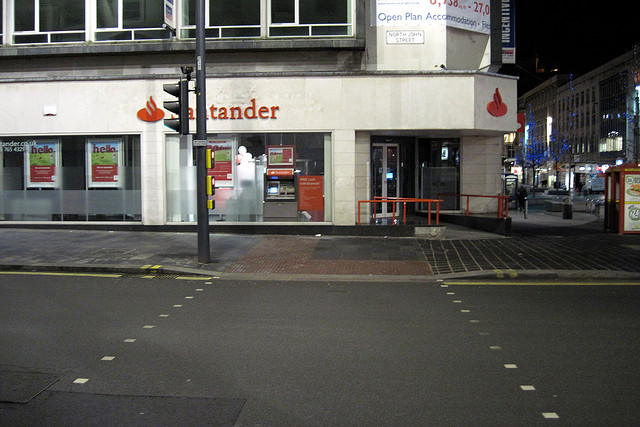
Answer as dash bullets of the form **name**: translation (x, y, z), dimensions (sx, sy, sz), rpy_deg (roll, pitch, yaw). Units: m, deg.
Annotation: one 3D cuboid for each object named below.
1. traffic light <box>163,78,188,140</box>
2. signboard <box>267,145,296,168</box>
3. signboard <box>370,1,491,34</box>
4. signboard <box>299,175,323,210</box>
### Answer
- **traffic light**: translation (-3.817, -2.873, 16.595), dimensions (0.640, 1.475, 0.748), rpy_deg (-2, 11, -13)
- **signboard**: translation (-1.356, -2.125, 22.633), dimensions (0.837, 0.693, 0.112), rpy_deg (0, 1, 4)
- **signboard**: translation (4.417, -7.836, 24.230), dimensions (5.129, 1.218, 0.817), rpy_deg (-3, 11, -19)
- **signboard**: translation (-0.291, -0.794, 22.686), dimensions (1.256, 1.670, 0.181), rpy_deg (0, 1, 0)
